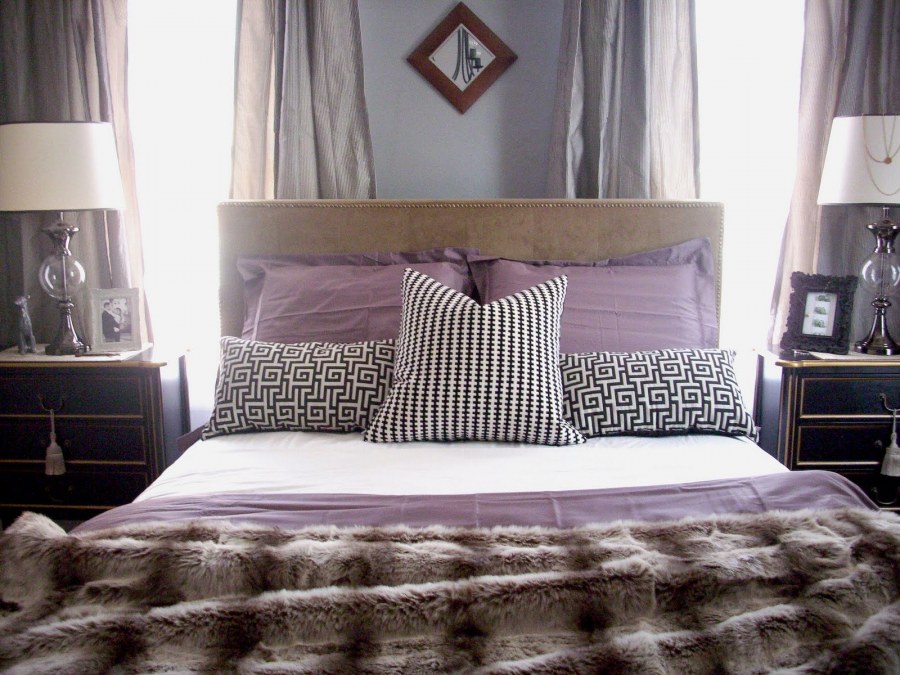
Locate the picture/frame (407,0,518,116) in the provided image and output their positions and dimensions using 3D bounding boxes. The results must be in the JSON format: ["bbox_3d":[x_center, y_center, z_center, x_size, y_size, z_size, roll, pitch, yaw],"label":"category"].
[{"bbox_3d":[0.054,-1.252,3.284,0.395,0.435,0.017,8,14,-3],"label":"picture/frame"}]

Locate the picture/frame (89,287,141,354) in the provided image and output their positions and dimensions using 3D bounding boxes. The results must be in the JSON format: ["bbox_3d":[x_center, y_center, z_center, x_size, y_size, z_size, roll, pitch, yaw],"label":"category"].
[{"bbox_3d":[-1.364,-0.064,3.055,0.246,0.350,0.035,-1,1,-5],"label":"picture/frame"}]

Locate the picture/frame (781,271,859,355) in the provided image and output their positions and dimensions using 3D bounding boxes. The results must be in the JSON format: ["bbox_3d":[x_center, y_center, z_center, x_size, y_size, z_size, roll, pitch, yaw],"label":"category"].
[{"bbox_3d":[1.469,-0.094,2.963,0.235,0.311,0.018,8,26,26],"label":"picture/frame"}]
